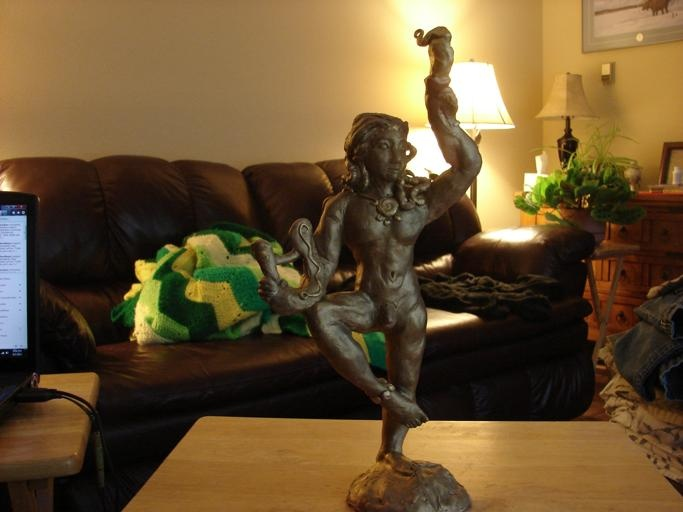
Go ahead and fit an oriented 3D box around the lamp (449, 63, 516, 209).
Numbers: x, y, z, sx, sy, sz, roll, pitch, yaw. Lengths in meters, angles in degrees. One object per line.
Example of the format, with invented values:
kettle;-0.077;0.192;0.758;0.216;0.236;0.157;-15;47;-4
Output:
lamp;0.735;-0.636;3.342;0.334;0.831;0.326;-10;14;-40
